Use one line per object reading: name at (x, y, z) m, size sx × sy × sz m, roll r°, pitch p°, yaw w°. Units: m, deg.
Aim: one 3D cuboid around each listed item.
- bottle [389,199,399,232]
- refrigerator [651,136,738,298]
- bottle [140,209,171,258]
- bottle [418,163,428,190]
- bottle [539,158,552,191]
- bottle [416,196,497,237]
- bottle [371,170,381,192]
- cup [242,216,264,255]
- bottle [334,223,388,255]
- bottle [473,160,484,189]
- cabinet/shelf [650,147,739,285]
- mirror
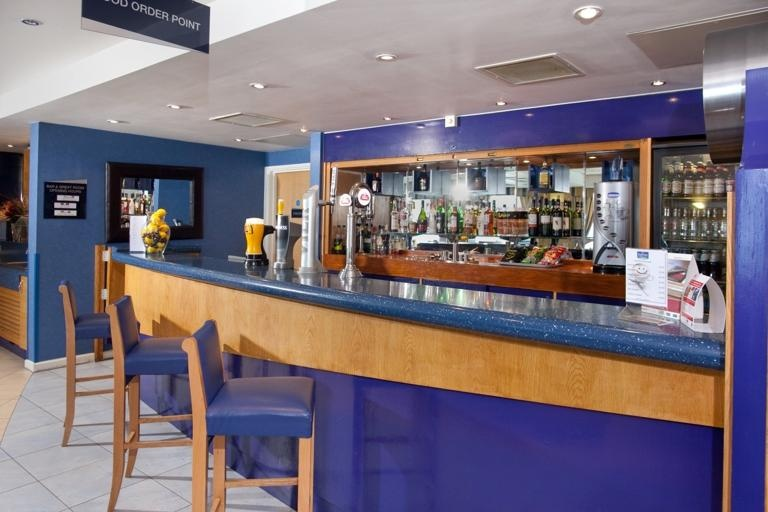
bottle at (0.126, -0.488, 6.885) m, size 0.107 × 0.385 × 0.290 m, roll 1°, pitch 4°, yaw -2°
refrigerator at (2.555, -0.354, 4.833) m, size 0.655 × 1.200 × 0.308 m, roll 2°, pitch 4°, yaw 14°
bottle at (-2.024, -0.236, 5.171) m, size 0.265 × 0.417 × 0.262 m, roll 8°, pitch 18°, yaw -3°
bottle at (0.422, -0.865, 6.438) m, size 0.177 × 0.276 × 0.047 m, roll 2°, pitch 4°, yaw 9°
bottle at (1.578, -0.788, 5.640) m, size 0.126 × 0.292 × 0.236 m, roll 2°, pitch 5°, yaw 15°
bottle at (0.808, -0.429, 6.430) m, size 0.334 × 0.416 × 1.110 m, roll -1°, pitch 0°, yaw -39°
bottle at (-0.090, -0.887, 6.916) m, size 0.127 × 0.246 × 0.104 m, roll 1°, pitch 4°, yaw -2°
cup at (-0.912, -0.139, 4.097) m, size 0.130 × 0.251 × 0.193 m, roll 0°, pitch 4°, yaw -12°
bottle at (-0.276, -0.200, 6.771) m, size 0.671 × 0.353 × 0.223 m, roll 1°, pitch 4°, yaw 0°
bottle at (1.008, -0.838, 6.152) m, size 0.079 × 0.267 × 0.128 m, roll -1°, pitch 5°, yaw -29°
cabinet/shelf at (2.605, -0.424, 4.810) m, size 0.389 × 1.123 × 0.542 m, roll -29°, pitch 21°, yaw -31°
mirror at (-2.745, -0.667, 6.773) m, size 0.075 × 0.859 × 1.075 m, roll 5°, pitch 6°, yaw 41°
